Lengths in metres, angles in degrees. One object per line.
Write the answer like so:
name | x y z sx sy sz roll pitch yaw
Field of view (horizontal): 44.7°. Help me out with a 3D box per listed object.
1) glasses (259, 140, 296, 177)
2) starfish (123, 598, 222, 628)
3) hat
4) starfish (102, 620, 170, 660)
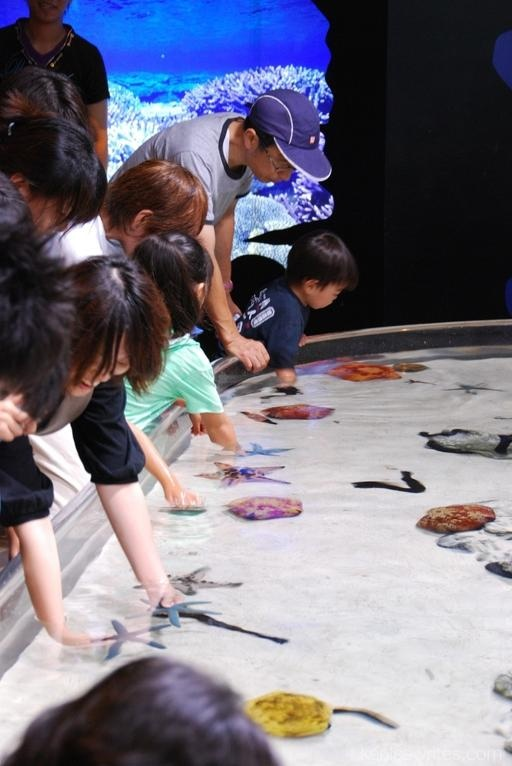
glasses | 0.071 -0.835 2.351 0.099 0.126 0.049 1 53 -42
starfish | -0.124 0.385 1.040 0.102 0.005 0.081 -2 10 -10
hat | 0.106 -0.967 2.364 0.445 0.196 0.265 19 18 -12
starfish | -0.183 0.396 0.956 0.089 0.010 0.108 -2 10 -5
